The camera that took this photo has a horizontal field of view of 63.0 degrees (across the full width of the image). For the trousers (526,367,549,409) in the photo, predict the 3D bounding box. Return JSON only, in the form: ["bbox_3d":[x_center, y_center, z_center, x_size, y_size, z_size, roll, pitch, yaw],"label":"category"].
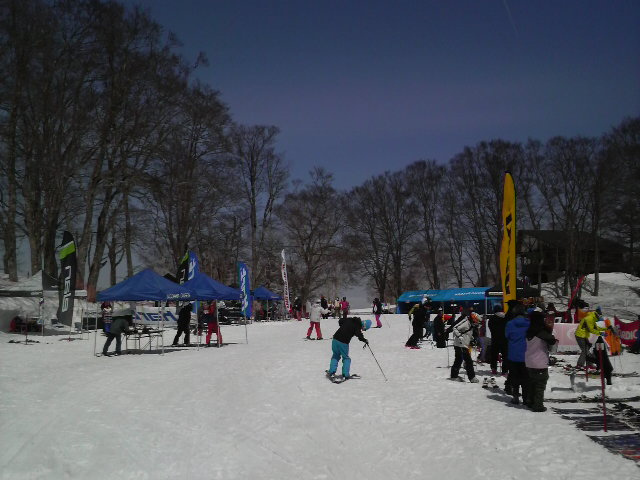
[{"bbox_3d":[4.999,3.410,12.108,0.418,0.913,0.435,-1,-3,22],"label":"trousers"}]

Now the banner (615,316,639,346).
[{"bbox_3d":[12.068,3.666,20.636,0.885,1.084,0.776,-2,-4,44],"label":"banner"}]

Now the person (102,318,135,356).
[{"bbox_3d":[-8.010,3.865,20.950,1.102,1.469,0.969,2,-3,-22],"label":"person"}]

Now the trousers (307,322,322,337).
[{"bbox_3d":[-0.309,4.559,26.722,0.611,0.727,0.950,1,-3,-8],"label":"trousers"}]

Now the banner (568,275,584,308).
[{"bbox_3d":[11.740,2.349,24.182,0.499,1.193,9.021,-1,-4,26],"label":"banner"}]

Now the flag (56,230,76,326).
[{"bbox_3d":[-12.843,1.873,26.617,0.954,4.937,0.363,-5,-13,5],"label":"flag"}]

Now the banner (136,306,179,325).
[{"bbox_3d":[-10.155,4.841,33.192,1.870,1.060,2.488,-10,-18,37],"label":"banner"}]

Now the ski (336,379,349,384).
[{"bbox_3d":[0.604,4.123,15.217,0.128,0.024,0.595,-1,-5,25],"label":"ski"}]

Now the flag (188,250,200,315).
[{"bbox_3d":[-7.294,2.494,30.547,0.656,3.856,7.873,1,-4,-14],"label":"flag"}]

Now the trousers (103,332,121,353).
[{"bbox_3d":[-8.203,4.080,20.872,0.646,0.838,0.860,2,-3,-24],"label":"trousers"}]

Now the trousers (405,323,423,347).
[{"bbox_3d":[4.496,4.577,24.974,0.461,0.401,1.699,2,-47,-11],"label":"trousers"}]

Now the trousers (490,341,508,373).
[{"bbox_3d":[5.443,3.535,15.927,0.407,1.071,1.604,0,-4,11],"label":"trousers"}]

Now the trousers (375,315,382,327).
[{"bbox_3d":[3.939,5.425,34.950,0.386,0.804,1.112,0,-3,9],"label":"trousers"}]

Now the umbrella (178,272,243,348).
[{"bbox_3d":[-5.061,3.346,25.709,2.293,3.384,5.644,0,-4,-1],"label":"umbrella"}]

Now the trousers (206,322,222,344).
[{"bbox_3d":[-4.973,4.333,24.397,0.506,0.974,0.613,1,-3,-13],"label":"trousers"}]

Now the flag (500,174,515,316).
[{"bbox_3d":[5.763,0.072,16.111,0.380,4.325,1.111,0,-2,20],"label":"flag"}]

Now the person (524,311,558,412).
[{"bbox_3d":[5.092,2.817,12.215,0.650,2.283,0.731,-1,-3,21],"label":"person"}]

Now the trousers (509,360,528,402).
[{"bbox_3d":[4.846,3.323,12.801,0.382,1.544,0.371,1,21,35],"label":"trousers"}]

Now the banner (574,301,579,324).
[{"bbox_3d":[10.124,2.934,20.738,0.127,0.770,1.643,-1,-4,27],"label":"banner"}]

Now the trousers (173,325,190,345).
[{"bbox_3d":[-6.512,4.511,24.821,0.717,1.003,1.004,1,-3,-18],"label":"trousers"}]

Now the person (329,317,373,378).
[{"bbox_3d":[0.781,3.224,15.499,0.935,1.795,0.814,0,-3,0],"label":"person"}]

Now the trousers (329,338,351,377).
[{"bbox_3d":[0.608,3.552,15.968,0.571,1.150,0.985,0,-3,5],"label":"trousers"}]

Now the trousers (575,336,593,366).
[{"bbox_3d":[8.006,3.412,15.942,0.431,0.962,0.859,-1,-3,27],"label":"trousers"}]
